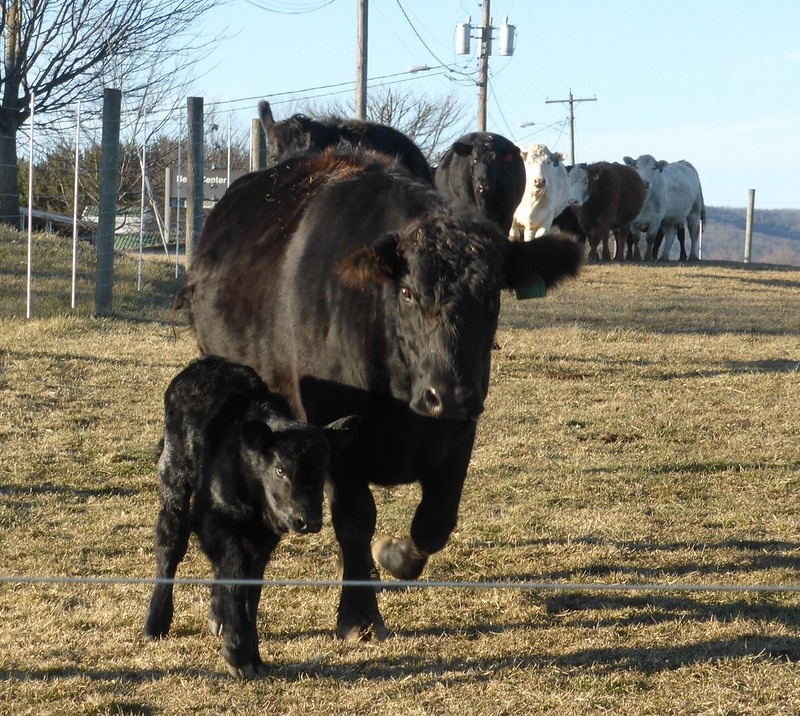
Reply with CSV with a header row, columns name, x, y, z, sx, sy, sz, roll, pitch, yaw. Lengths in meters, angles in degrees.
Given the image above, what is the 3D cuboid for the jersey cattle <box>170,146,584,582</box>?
name,x,y,z,sx,sy,sz,roll,pitch,yaw
jersey cattle,-0.530,0.054,14.533,1.669,3.202,5.022,1,5,-25

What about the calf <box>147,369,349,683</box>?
name,x,y,z,sx,sy,sz,roll,pitch,yaw
calf,-1.180,1.182,13.610,0.704,2.177,2.345,3,4,-29
